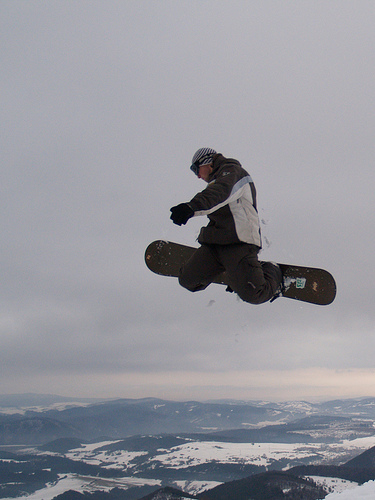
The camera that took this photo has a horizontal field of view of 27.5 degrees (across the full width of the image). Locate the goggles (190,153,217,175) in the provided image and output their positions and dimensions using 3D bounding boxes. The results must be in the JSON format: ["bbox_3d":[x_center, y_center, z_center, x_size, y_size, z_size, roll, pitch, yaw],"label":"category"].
[{"bbox_3d":[0.101,-0.658,5.845,0.144,0.176,0.072,23,16,-4],"label":"goggles"}]

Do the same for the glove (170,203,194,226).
[{"bbox_3d":[-0.030,-0.234,5.170,0.167,0.163,0.149,4,-14,-7],"label":"glove"}]

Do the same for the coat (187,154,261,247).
[{"bbox_3d":[0.275,-0.337,5.467,0.288,0.366,0.825,-1,-4,10],"label":"coat"}]

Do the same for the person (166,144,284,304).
[{"bbox_3d":[0.323,-0.216,5.698,0.746,1.132,1.069,1,-14,6],"label":"person"}]

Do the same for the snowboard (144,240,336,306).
[{"bbox_3d":[0.814,0.221,6.433,2.298,0.480,0.282,4,9,-13],"label":"snowboard"}]
